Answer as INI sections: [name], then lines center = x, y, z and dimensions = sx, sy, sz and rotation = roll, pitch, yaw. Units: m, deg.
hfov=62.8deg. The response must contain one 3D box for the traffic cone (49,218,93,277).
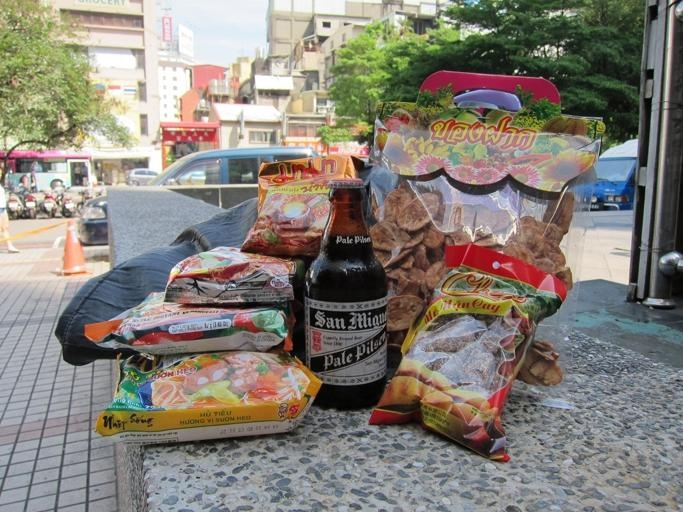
[traffic cone]
center = -3.874, -0.108, 7.973
dimensions = 0.418, 0.665, 1.225
rotation = -5, 14, -25

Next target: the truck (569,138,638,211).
[truck]
center = 6.811, -2.015, 13.892
dimensions = 0.914, 1.563, 3.190
rotation = 8, 14, 25
